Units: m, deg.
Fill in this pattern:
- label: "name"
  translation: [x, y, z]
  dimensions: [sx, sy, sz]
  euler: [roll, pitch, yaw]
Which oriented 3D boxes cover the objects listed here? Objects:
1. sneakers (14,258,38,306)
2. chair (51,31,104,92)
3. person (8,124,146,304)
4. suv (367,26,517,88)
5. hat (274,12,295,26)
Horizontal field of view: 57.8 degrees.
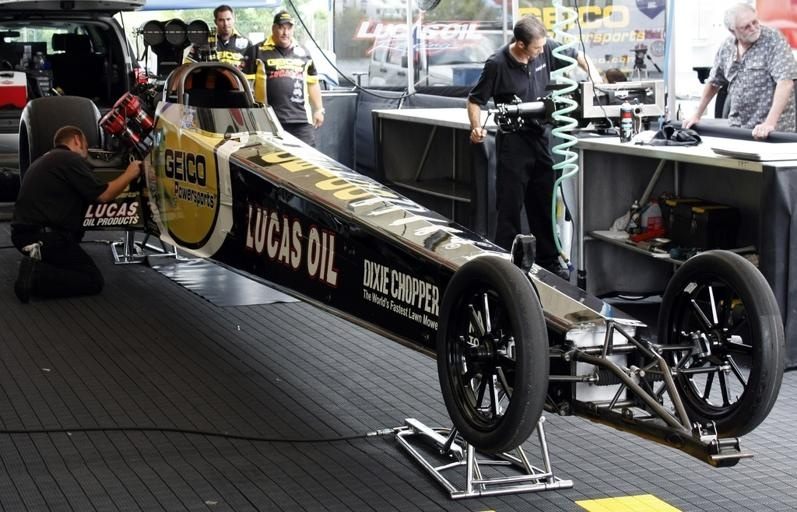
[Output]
- label: "sneakers"
  translation: [-3.028, 0.185, 5.881]
  dimensions: [0.139, 0.432, 0.173]
  euler: [2, -11, 14]
- label: "chair"
  translation: [-4.097, -2.414, 9.177]
  dimensions: [0.595, 0.906, 0.775]
  euler: [3, 7, 1]
- label: "person"
  translation: [-2.822, -0.403, 6.402]
  dimensions: [1.132, 1.490, 1.067]
  euler: [1, 3, -29]
- label: "suv"
  translation: [0.524, -3.012, 10.968]
  dimensions: [1.234, 1.191, 2.143]
  euler: [-5, 9, -21]
- label: "hat"
  translation: [-1.217, -2.502, 7.655]
  dimensions: [0.196, 0.131, 0.270]
  euler: [-1, 18, -9]
